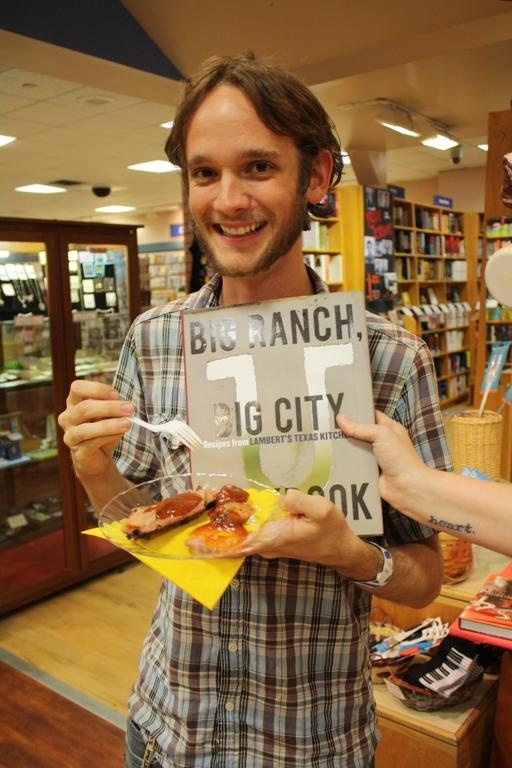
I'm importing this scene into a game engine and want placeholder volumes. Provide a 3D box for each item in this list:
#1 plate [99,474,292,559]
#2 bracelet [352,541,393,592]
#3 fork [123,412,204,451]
[{"bbox_3d":[-0.097,0.192,0.744,0.154,0.018,0.159,5,12,34],"label":"plate"},{"bbox_3d":[0.175,0.278,0.865,0.067,0.081,0.047,-25,-37,37],"label":"bracelet"},{"bbox_3d":[-0.176,0.074,0.966,0.046,0.050,0.293,23,-12,-34],"label":"fork"}]
